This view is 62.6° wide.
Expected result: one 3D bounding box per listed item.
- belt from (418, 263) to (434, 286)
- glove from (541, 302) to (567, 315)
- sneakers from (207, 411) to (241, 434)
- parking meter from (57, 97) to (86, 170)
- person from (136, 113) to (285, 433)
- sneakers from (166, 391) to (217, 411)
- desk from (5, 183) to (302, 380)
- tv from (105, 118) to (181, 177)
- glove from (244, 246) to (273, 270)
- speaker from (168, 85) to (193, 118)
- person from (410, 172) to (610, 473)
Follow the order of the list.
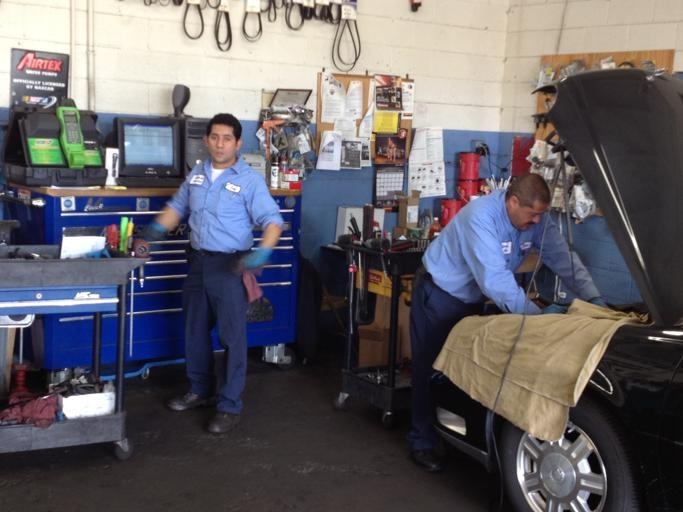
[{"bbox_3d":[0.472,0.114,3.222,0.090,0.171,0.130,3,4,-2],"label":"belt"},{"bbox_3d":[1.045,0.255,2.737,0.060,0.035,0.088,6,5,31],"label":"glove"},{"bbox_3d":[-0.735,1.034,3.553,0.083,0.093,0.204,5,1,28],"label":"sneakers"},{"bbox_3d":[-1.831,-0.796,3.820,0.166,0.409,0.204,-4,12,-28],"label":"parking meter"},{"bbox_3d":[-0.771,0.090,3.582,0.913,1.926,0.448,9,12,34],"label":"person"},{"bbox_3d":[-1.024,0.979,3.860,0.321,0.157,0.118,3,5,-24],"label":"sneakers"},{"bbox_3d":[-1.477,0.225,4.436,2.285,1.481,1.339,-2,5,-33],"label":"desk"},{"bbox_3d":[-1.468,-0.743,4.190,0.439,0.468,0.452,-1,-1,-25],"label":"tv"},{"bbox_3d":[-0.500,0.024,3.393,0.164,0.172,0.104,-3,-29,24],"label":"glove"},{"bbox_3d":[-1.215,-1.168,4.282,0.114,0.248,0.178,-2,11,-20],"label":"speaker"},{"bbox_3d":[0.883,0.363,3.173,0.658,1.617,1.065,-12,28,-33],"label":"person"}]
